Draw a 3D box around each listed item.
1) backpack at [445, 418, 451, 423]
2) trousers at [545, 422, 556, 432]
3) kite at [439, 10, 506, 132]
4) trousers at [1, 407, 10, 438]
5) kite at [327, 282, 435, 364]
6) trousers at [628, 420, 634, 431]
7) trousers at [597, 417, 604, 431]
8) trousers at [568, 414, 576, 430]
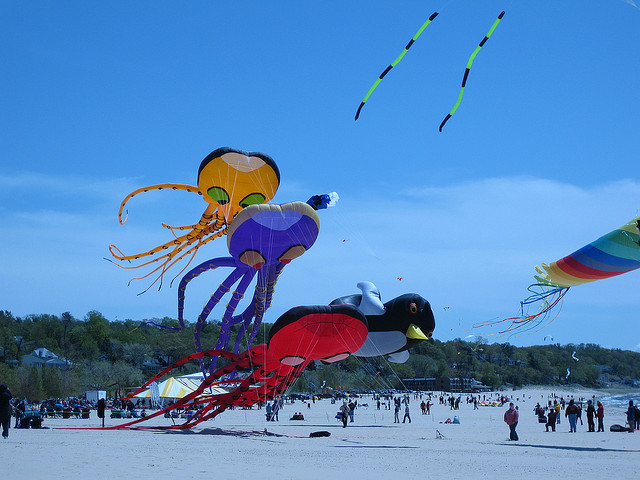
[{"bbox_3d":[7.931,11.151,50.324,0.290,0.428,0.146,-2,-7,11],"label":"backpack"},{"bbox_3d":[12.085,9.768,42.841,0.666,0.641,0.236,-2,-14,11],"label":"trousers"},{"bbox_3d":[2.330,-2.585,12.567,0.202,2.012,0.165,21,15,-15],"label":"kite"},{"bbox_3d":[-12.554,7.282,32.729,0.291,1.149,0.496,2,-15,-9],"label":"trousers"},{"bbox_3d":[3.242,4.477,44.782,6.277,2.847,4.763,1,-39,30],"label":"kite"},{"bbox_3d":[15.667,9.305,41.129,0.270,0.525,0.520,-6,-16,20],"label":"trousers"},{"bbox_3d":[14.395,9.427,41.948,0.219,0.663,0.609,-5,-16,17],"label":"trousers"},{"bbox_3d":[12.605,9.046,40.711,0.309,0.685,0.930,-5,-16,16],"label":"trousers"}]
